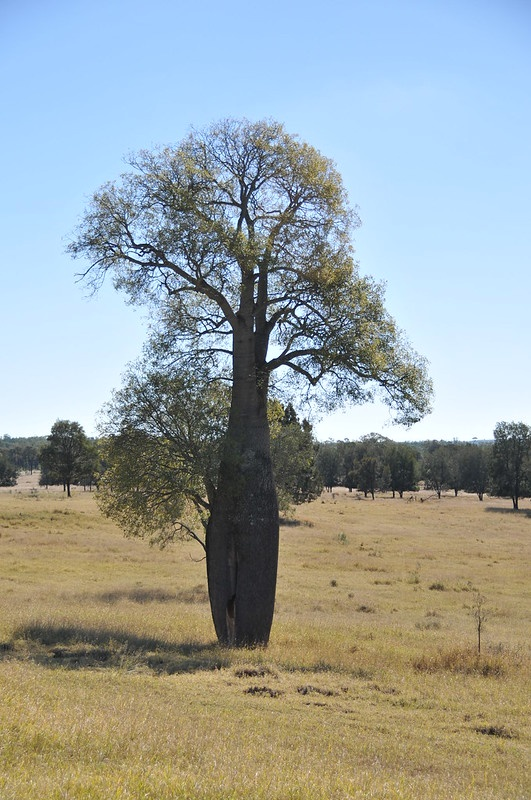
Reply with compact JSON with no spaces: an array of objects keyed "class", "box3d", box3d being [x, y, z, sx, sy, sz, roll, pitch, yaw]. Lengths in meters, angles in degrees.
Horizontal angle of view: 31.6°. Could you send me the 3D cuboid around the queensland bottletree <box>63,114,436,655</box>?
[{"class":"queensland bottletree","box3d":[-0.091,0.033,18.834,5.840,10.887,5.444,4,9,19]}]
